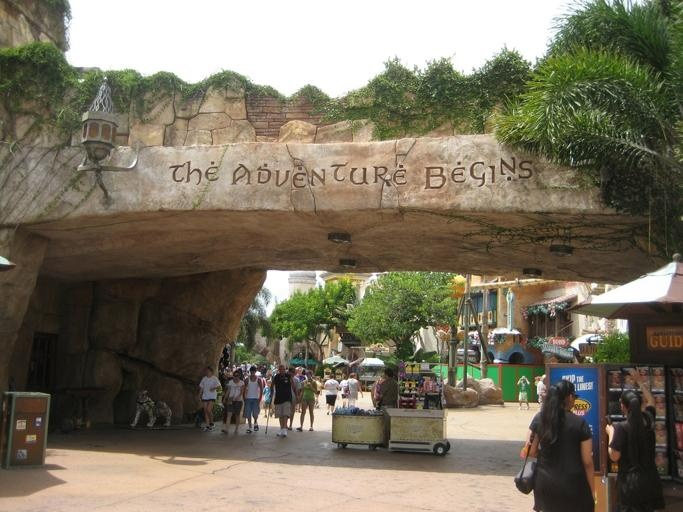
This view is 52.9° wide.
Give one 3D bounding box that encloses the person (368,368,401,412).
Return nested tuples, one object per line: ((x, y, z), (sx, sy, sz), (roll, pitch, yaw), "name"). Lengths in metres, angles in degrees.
((1.035, 3.227, 16.776), (0.541, 0.951, 1.204), (1, -11, 2), "person")

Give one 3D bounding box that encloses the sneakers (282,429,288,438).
((-1.499, 4.440, 17.280), (0.125, 0.164, 0.380), (1, -24, -5), "sneakers")

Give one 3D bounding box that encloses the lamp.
((-4.590, -2.239, 13.300), (1.016, 2.520, 1.458), (6, -12, -22), "lamp")

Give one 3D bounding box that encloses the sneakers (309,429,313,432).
((-0.905, 4.844, 19.185), (0.068, 0.068, 0.123), (2, -5, 20), "sneakers")

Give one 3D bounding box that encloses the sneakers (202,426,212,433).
((-3.679, 4.612, 18.336), (0.141, 0.157, 0.369), (10, -19, -34), "sneakers")

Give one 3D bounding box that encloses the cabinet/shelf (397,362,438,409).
((1.825, 3.077, 16.153), (1.123, 1.082, 0.882), (-2, -5, 19), "cabinet/shelf")
